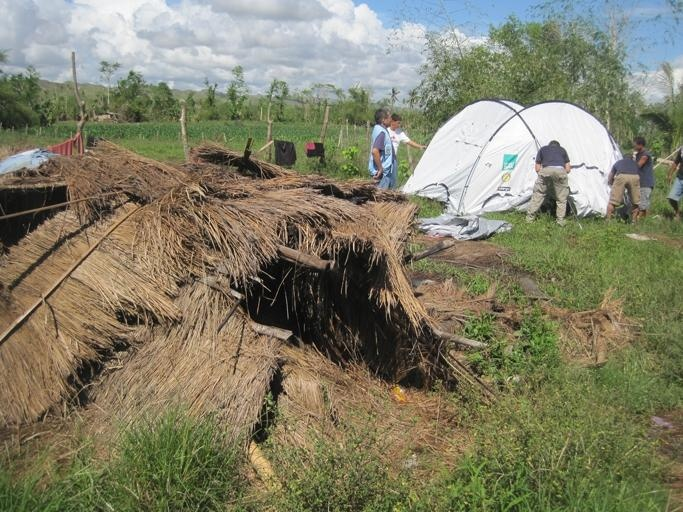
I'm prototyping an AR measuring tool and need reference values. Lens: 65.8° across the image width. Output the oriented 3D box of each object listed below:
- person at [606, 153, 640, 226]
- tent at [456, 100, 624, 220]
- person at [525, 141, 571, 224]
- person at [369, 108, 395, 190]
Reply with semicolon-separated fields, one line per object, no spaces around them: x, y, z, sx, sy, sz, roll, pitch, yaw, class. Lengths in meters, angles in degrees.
6.167;-1.503;11.518;0.683;1.426;0.851;13;13;35;person
4.418;-2.214;12.250;2.946;2.159;2.567;-5;9;-13;tent
4.546;-1.567;11.384;0.798;2.200;0.755;-1;-32;31;person
0.729;-1.865;9.208;0.483;1.358;0.994;7;11;4;person
